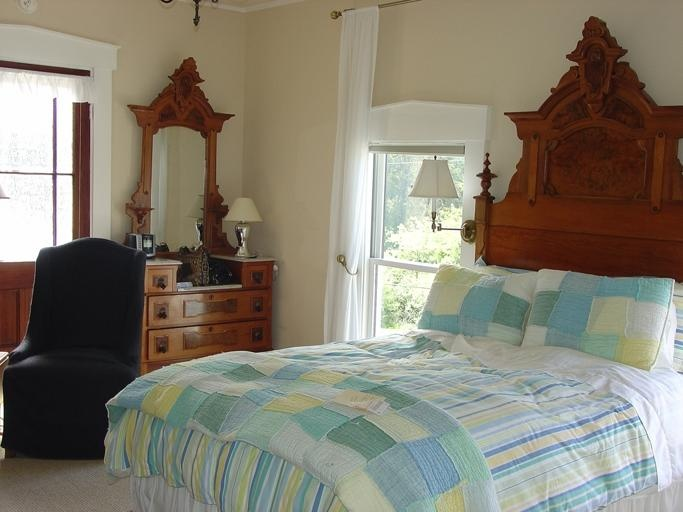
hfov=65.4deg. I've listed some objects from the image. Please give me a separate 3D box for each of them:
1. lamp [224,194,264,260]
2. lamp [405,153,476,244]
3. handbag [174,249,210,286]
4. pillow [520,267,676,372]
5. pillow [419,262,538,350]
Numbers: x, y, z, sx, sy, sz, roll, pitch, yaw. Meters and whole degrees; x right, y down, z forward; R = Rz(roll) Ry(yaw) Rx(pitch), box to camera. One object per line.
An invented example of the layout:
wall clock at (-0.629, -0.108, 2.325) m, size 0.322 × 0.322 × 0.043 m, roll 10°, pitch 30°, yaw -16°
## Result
lamp at (-0.917, -0.272, 5.005) m, size 0.357 × 0.546 × 0.367 m, roll 1°, pitch -5°, yaw -10°
lamp at (0.718, -0.377, 3.765) m, size 0.436 × 0.600 × 0.332 m, roll -1°, pitch 10°, yaw -7°
handbag at (-1.301, 0.090, 4.764) m, size 0.270 × 0.354 × 0.106 m, roll 5°, pitch -11°, yaw 12°
pillow at (1.336, 0.297, 2.780) m, size 0.546 × 0.565 × 0.170 m, roll 1°, pitch -38°, yaw 29°
pillow at (0.811, 0.266, 3.225) m, size 0.648 × 0.374 × 0.365 m, roll 6°, pitch 9°, yaw 35°
